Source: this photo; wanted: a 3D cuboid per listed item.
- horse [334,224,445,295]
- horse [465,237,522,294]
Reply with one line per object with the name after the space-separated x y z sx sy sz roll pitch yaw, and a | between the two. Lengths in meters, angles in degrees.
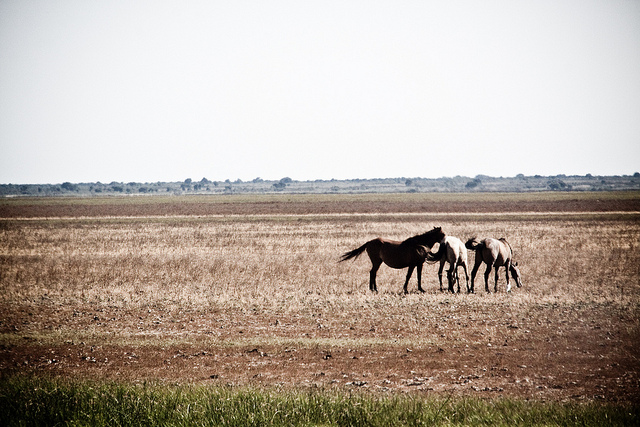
4.834 3.096 68.678 5.214 4.589 5.665 2 -3 -26 | horse
11.778 3.451 67.656 3.393 3.748 2.086 0 -2 10 | horse
